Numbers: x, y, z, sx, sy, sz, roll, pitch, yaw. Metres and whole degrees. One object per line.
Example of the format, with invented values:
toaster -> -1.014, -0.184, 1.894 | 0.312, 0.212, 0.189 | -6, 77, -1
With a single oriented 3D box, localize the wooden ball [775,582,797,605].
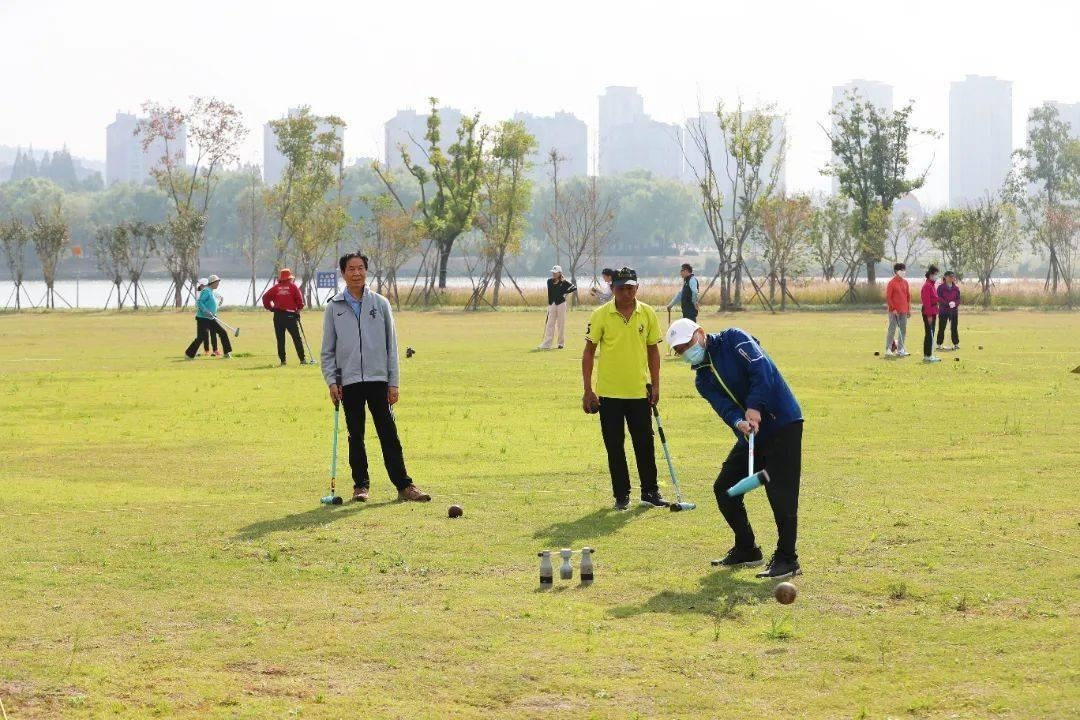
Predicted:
wooden ball -> 3.255, 3.124, 22.819 | 0.290, 0.263, 0.145 | -18, -5, 1

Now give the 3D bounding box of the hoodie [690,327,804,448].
hoodie -> 2.797, 0.304, 23.307 | 1.372, 1.481, 0.518 | -1, 4, 5

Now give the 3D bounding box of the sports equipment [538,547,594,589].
sports equipment -> 0.368, 2.812, 23.482 | 0.741, 0.503, 0.715 | -1, 3, 0

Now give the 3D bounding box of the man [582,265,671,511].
man -> 1.268, 0.424, 25.727 | 1.192, 3.617, 0.738 | -2, 4, 1

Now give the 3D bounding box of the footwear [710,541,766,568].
footwear -> 2.768, 2.754, 23.782 | 0.799, 0.283, 0.269 | 1, -3, -2

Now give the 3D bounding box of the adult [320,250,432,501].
adult -> -2.647, 0.244, 26.123 | 1.229, 3.766, 1.017 | -3, 4, -20

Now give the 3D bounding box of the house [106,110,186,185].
house -> -63.854, -34.137, 271.104 | 8.579, 12.812, 14.419 | 2, 6, 26

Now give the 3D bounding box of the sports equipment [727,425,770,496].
sports equipment -> 2.834, 1.440, 23.194 | 0.445, 0.891, 0.747 | -3, 4, -15

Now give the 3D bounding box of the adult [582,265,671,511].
adult -> 1.267, 0.424, 25.729 | 1.194, 3.617, 0.740 | -2, 4, 1

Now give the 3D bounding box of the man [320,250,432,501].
man -> -2.644, 0.245, 26.104 | 0.964, 3.766, 1.291 | -5, 5, -44
